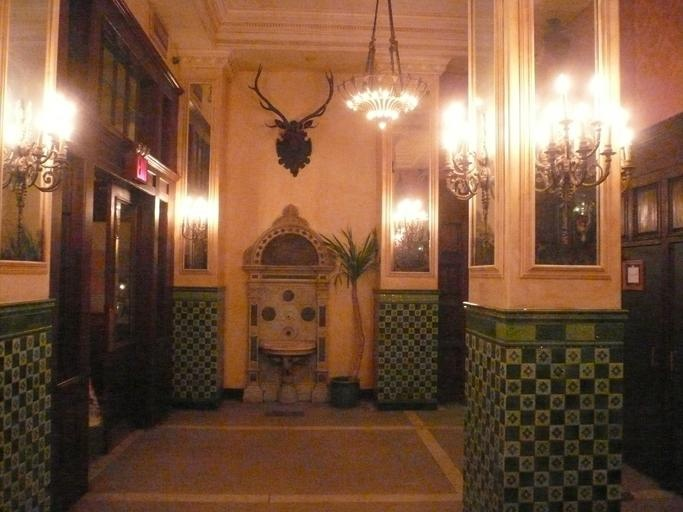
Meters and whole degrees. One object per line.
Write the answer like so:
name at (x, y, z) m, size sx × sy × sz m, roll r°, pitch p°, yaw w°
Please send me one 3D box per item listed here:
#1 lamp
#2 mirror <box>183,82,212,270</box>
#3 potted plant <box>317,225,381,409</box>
lamp at (0.610, -2.521, 7.938) m, size 1.034 × 2.362 × 1.072 m, roll -8°, pitch -24°, yaw 20°
mirror at (-1.930, -1.080, 8.255) m, size 0.349 × 2.490 × 0.457 m, roll 0°, pitch 6°, yaw -6°
potted plant at (0.139, 0.811, 8.537) m, size 0.790 × 2.356 × 0.869 m, roll 1°, pitch 6°, yaw -1°
